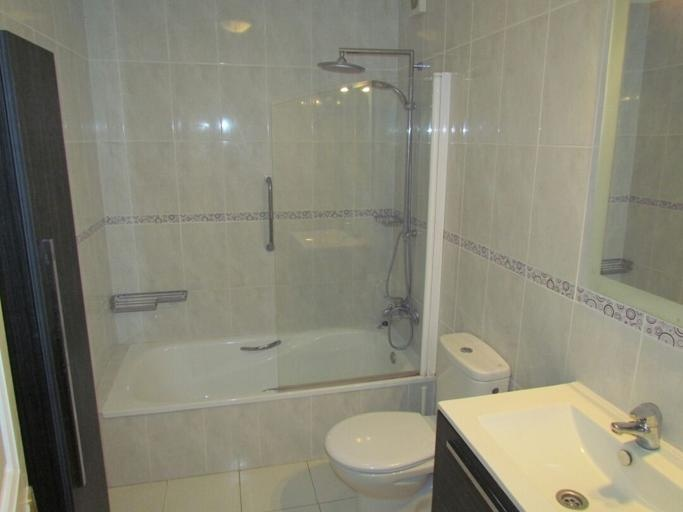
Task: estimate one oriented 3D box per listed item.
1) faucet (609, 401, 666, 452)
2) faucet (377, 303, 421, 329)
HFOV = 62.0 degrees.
[{"bbox_3d":[1.013,0.566,1.903,0.176,0.122,0.198,-3,-89,7],"label":"faucet"},{"bbox_3d":[0.340,0.355,3.359,0.203,0.119,0.117,-2,-83,3],"label":"faucet"}]
